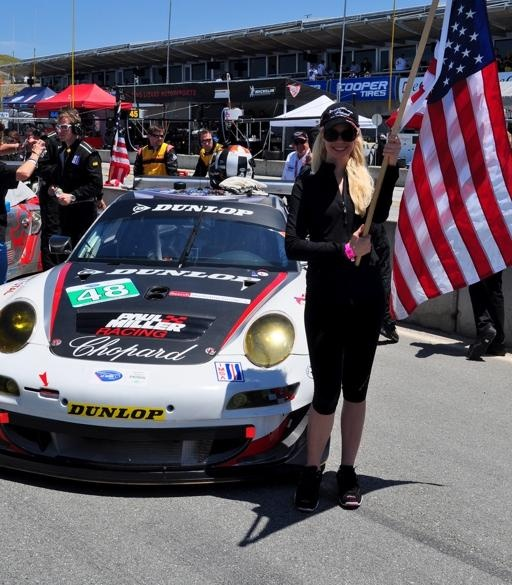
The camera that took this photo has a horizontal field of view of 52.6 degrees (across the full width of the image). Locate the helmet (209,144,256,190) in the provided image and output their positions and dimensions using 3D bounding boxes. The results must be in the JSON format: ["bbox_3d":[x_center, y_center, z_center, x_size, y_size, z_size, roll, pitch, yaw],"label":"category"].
[{"bbox_3d":[-0.228,-1.492,6.070,0.601,0.444,0.414,10,27,4],"label":"helmet"}]

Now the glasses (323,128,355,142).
[{"bbox_3d":[0.350,-0.655,2.155,0.080,0.072,0.026,3,52,0],"label":"glasses"}]

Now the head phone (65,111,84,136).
[{"bbox_3d":[-1.942,-1.784,5.552,0.177,0.206,0.435,2,1,-17],"label":"head phone"}]

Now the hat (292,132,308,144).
[{"bbox_3d":[0.616,-2.164,7.267,0.219,0.140,0.333,0,7,6],"label":"hat"}]

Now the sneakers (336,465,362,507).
[{"bbox_3d":[0.394,0.843,2.246,0.074,0.080,0.202,0,-1,2],"label":"sneakers"}]

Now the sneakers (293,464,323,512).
[{"bbox_3d":[0.220,0.825,2.188,0.076,0.080,0.217,11,12,11],"label":"sneakers"}]

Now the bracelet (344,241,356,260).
[{"bbox_3d":[0.363,-0.163,2.014,0.061,0.055,0.022,11,30,22],"label":"bracelet"}]

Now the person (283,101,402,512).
[{"bbox_3d":[0.352,0.047,2.212,0.449,1.581,0.431,4,1,23],"label":"person"}]
